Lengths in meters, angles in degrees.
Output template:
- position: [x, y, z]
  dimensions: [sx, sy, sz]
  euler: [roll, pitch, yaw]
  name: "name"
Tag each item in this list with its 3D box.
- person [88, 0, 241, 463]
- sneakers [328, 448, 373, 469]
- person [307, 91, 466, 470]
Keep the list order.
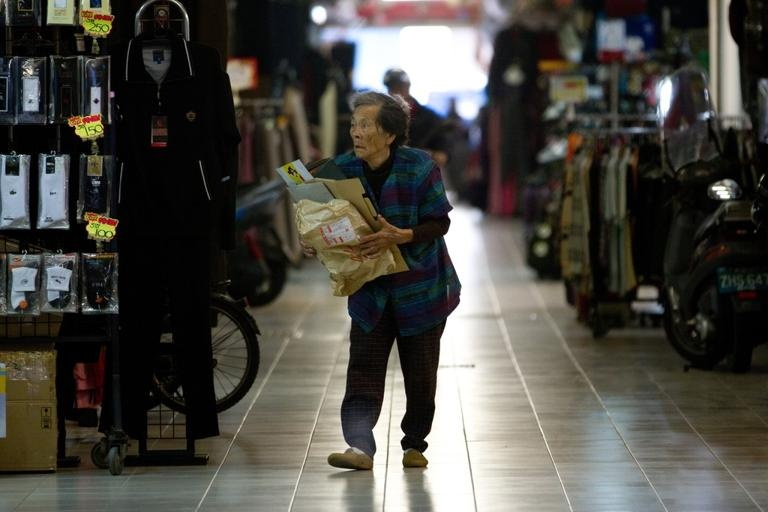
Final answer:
- position: [-1.135, -0.039, 5.430]
  dimensions: [0.714, 2.355, 0.290]
  euler: [-3, 8, -8]
  name: "person"
- position: [-0.177, 1.073, 5.332]
  dimensions: [0.207, 0.110, 0.087]
  euler: [7, 49, 2]
  name: "sneakers"
- position: [0.034, 0.134, 5.335]
  dimensions: [0.746, 2.031, 0.423]
  euler: [-1, 8, 3]
  name: "person"
